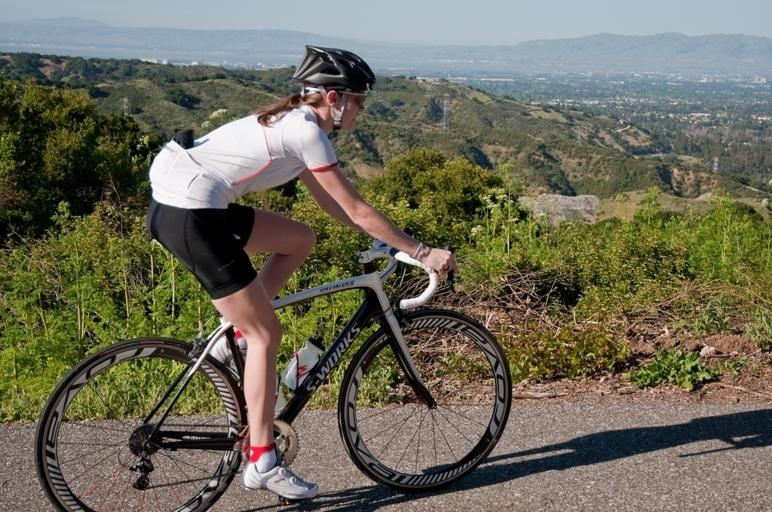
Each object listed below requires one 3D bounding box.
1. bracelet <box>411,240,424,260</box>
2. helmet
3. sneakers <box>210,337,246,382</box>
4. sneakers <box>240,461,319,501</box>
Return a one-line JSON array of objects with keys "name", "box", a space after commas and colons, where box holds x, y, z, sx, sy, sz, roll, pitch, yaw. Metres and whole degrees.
[{"name": "bracelet", "box": [0.234, -0.044, 5.690, 0.066, 0.120, 0.088, 35, -17, -21]}, {"name": "helmet", "box": [-0.390, -1.371, 5.550, 0.497, 0.259, 0.391, 0, 6, 0]}, {"name": "sneakers", "box": [-1.151, 0.775, 5.747, 0.329, 0.235, 0.125, 32, 46, -2]}, {"name": "sneakers", "box": [-0.806, 1.742, 5.832, 0.641, 0.269, 0.231, 8, -1, -11]}]
